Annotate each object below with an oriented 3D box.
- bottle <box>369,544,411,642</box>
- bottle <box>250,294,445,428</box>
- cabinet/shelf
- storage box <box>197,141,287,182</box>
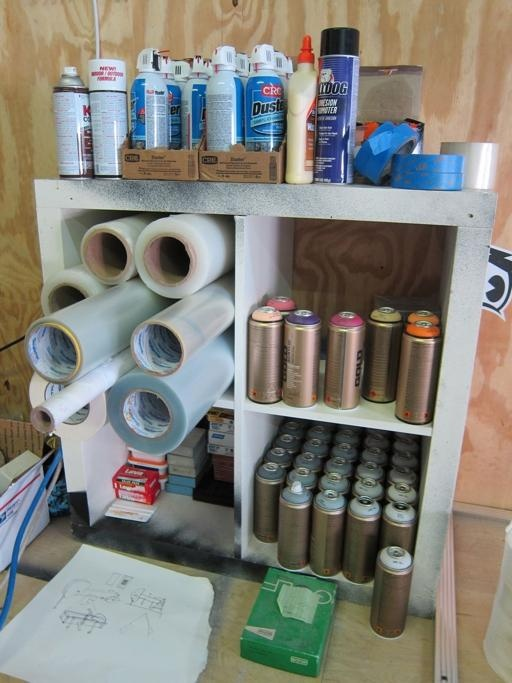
[{"bbox_3d":[0.248,0.460,1.025,0.070,0.177,0.059,11,23,18],"label":"bottle"},{"bbox_3d":[0.195,-0.007,1.157,0.309,0.236,0.291,0,17,0],"label":"bottle"},{"bbox_3d":[0.014,0.114,1.085,0.914,0.803,0.261,5,25,13],"label":"cabinet/shelf"},{"bbox_3d":[-0.018,-0.322,0.985,0.157,0.068,0.098,3,21,17],"label":"storage box"}]
